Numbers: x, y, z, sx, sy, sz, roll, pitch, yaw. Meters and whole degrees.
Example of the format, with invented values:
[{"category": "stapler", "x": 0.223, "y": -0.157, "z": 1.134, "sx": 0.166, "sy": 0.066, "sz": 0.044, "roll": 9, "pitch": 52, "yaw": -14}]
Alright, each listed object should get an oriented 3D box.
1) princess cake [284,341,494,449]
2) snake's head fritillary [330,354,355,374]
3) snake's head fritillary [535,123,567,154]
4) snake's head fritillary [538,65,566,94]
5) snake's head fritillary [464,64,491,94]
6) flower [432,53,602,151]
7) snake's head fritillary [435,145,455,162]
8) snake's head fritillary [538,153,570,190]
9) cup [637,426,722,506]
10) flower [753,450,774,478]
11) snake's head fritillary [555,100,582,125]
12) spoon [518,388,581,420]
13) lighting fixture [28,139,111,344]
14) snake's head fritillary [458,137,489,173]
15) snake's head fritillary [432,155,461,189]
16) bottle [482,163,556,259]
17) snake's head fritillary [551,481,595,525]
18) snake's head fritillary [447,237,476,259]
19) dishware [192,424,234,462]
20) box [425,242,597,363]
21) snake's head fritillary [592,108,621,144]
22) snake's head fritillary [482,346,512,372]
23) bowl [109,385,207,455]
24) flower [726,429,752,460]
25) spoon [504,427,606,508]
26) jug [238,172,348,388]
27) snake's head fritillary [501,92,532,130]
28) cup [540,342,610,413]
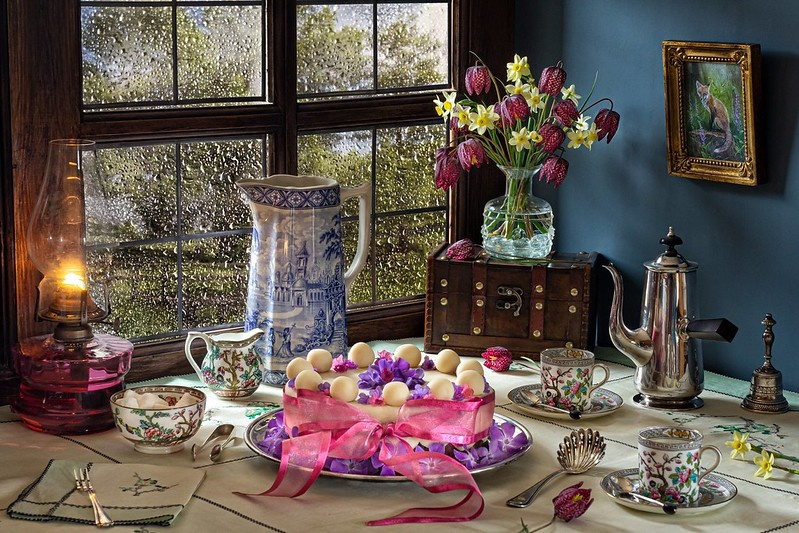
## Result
[{"category": "princess cake", "x": -0.023, "y": 0.256, "z": 1.422, "sx": 0.393, "sy": 0.145, "sz": 0.433, "roll": 1, "pitch": 5, "yaw": 11}, {"category": "snake's head fritillary", "x": -0.119, "y": 0.196, "z": 1.410, "sx": 0.030, "sy": 0.015, "sz": 0.030, "roll": 14, "pitch": 11, "yaw": 31}, {"category": "snake's head fritillary", "x": 0.377, "y": -0.331, "z": 1.815, "sx": 0.076, "sy": 0.080, "sz": 0.059, "roll": 22, "pitch": 6, "yaw": -12}, {"category": "snake's head fritillary", "x": 0.386, "y": -0.474, "z": 1.802, "sx": 0.060, "sy": 0.073, "sz": 0.092, "roll": 3, "pitch": 14, "yaw": 10}, {"category": "snake's head fritillary", "x": 0.207, "y": -0.500, "z": 1.889, "sx": 0.083, "sy": 0.091, "sz": 0.066, "roll": -2, "pitch": 9, "yaw": 7}, {"category": "flower", "x": 0.329, "y": -0.382, "z": 1.854, "sx": 0.316, "sy": 0.235, "sz": 0.366, "roll": 8, "pitch": 8, "yaw": 27}, {"category": "snake's head fritillary", "x": 0.118, "y": -0.305, "z": 1.896, "sx": 0.050, "sy": 0.022, "sz": 0.053, "roll": -10, "pitch": -7, "yaw": 6}, {"category": "snake's head fritillary", "x": 0.399, "y": -0.248, "z": 1.847, "sx": 0.060, "sy": 0.087, "sz": 0.101, "roll": 3, "pitch": 14, "yaw": 10}, {"category": "cup", "x": 0.448, "y": 0.326, "z": 1.158, "sx": 0.140, "sy": 0.115, "sz": 0.095, "roll": -1, "pitch": 5, "yaw": -14}, {"category": "flower", "x": 0.669, "y": 0.367, "z": 1.298, "sx": 0.016, "sy": 0.043, "sz": 0.042, "roll": 16, "pitch": -1, "yaw": -17}, {"category": "snake's head fritillary", "x": 0.410, "y": -0.383, "z": 1.749, "sx": 0.048, "sy": 0.062, "sz": 0.062, "roll": -10, "pitch": -12, "yaw": 31}, {"category": "spoon", "x": 0.311, "y": 0.296, "z": 1.532, "sx": 0.039, "sy": 0.037, "sz": 0.187, "roll": -7, "pitch": 14, "yaw": -31}, {"category": "lighting fixture", "x": -0.685, "y": -0.053, "z": 1.463, "sx": 0.157, "sy": 0.405, "sz": 0.121, "roll": -8, "pitch": 16, "yaw": -29}, {"category": "snake's head fritillary", "x": 0.179, "y": -0.285, "z": 1.824, "sx": 0.070, "sy": 0.083, "sz": 0.079, "roll": -12, "pitch": 2, "yaw": -24}, {"category": "snake's head fritillary", "x": 0.122, "y": -0.246, "z": 1.873, "sx": 0.066, "sy": 0.078, "sz": 0.087, "roll": 2, "pitch": 31, "yaw": -30}, {"category": "bottle", "x": 0.322, "y": -0.162, "z": 1.924, "sx": 0.201, "sy": 0.241, "sz": 0.206, "roll": 3, "pitch": 22, "yaw": 9}, {"category": "snake's head fritillary", "x": 0.277, "y": 0.379, "z": 1.142, "sx": 0.064, "sy": 0.062, "sz": 0.057, "roll": 0, "pitch": 14, "yaw": -1}, {"category": "snake's head fritillary", "x": 0.166, "y": -0.049, "z": 1.882, "sx": 0.056, "sy": 0.024, "sz": 0.061, "roll": 17, "pitch": 38, "yaw": 35}, {"category": "dishware", "x": -0.359, "y": 0.336, "z": 1.388, "sx": 0.029, "sy": 0.032, "sz": 0.114, "roll": 6, "pitch": 23, "yaw": 22}, {"category": "box", "x": 0.277, "y": 0.107, "z": 1.837, "sx": 0.418, "sy": 0.307, "sz": 0.266, "roll": 3, "pitch": 11, "yaw": 13}, {"category": "snake's head fritillary", "x": 0.523, "y": -0.362, "z": 1.804, "sx": 0.056, "sy": 0.081, "sz": 0.048, "roll": -5, "pitch": 15, "yaw": -21}, {"category": "snake's head fritillary", "x": 0.244, "y": 0.236, "z": 1.786, "sx": 0.065, "sy": 0.055, "sz": 0.049, "roll": -6, "pitch": -3, "yaw": -34}, {"category": "bowl", "x": -0.475, "y": 0.313, "z": 1.385, "sx": 0.166, "sy": 0.101, "sz": 0.166, "roll": 1, "pitch": -1, "yaw": 0}, {"category": "flower", "x": 0.661, "y": 0.354, "z": 1.377, "sx": 0.053, "sy": 0.057, "sz": 0.020, "roll": -5, "pitch": -20, "yaw": 44}, {"category": "spoon", "x": 0.274, "y": 0.332, "z": 1.240, "sx": 0.080, "sy": 0.055, "sz": 0.260, "roll": 7, "pitch": 22, "yaw": 38}, {"category": "jug", "x": -0.257, "y": 0.009, "z": 1.726, "sx": 0.266, "sy": 0.453, "sz": 0.241, "roll": -8, "pitch": 21, "yaw": -29}, {"category": "snake's head fritillary", "x": 0.289, "y": -0.398, "z": 1.793, "sx": 0.076, "sy": 0.083, "sz": 0.075, "roll": -8, "pitch": 13, "yaw": 16}, {"category": "cup", "x": 0.372, "y": 0.249, "z": 1.517, "sx": 0.101, "sy": 0.118, "sz": 0.143, "roll": -6, "pitch": 9, "yaw": -39}]
